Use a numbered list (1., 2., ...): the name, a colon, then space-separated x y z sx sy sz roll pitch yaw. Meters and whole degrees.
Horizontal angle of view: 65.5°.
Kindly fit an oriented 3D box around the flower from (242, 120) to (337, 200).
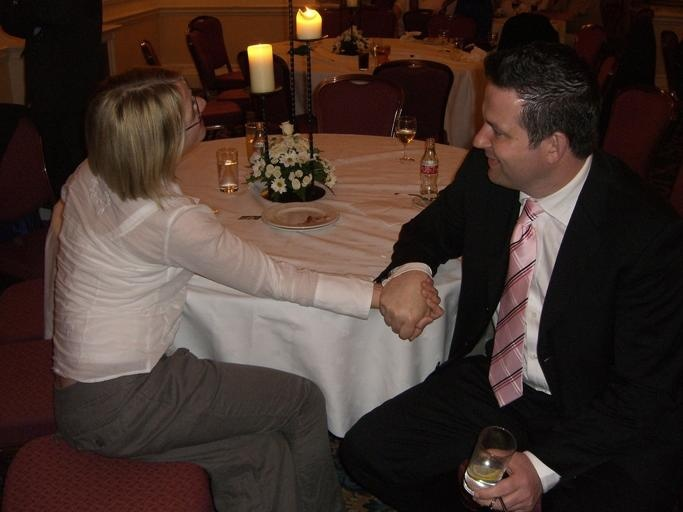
1. flower: -0.236 -0.345 2.328 0.349 0.259 0.353 24 42 30

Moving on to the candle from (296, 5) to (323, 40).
1. candle: -0.155 -1.059 2.414 0.117 0.138 0.311 -4 25 -2

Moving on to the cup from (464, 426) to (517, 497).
1. cup: 0.401 0.581 1.452 0.128 0.220 0.100 4 26 16
